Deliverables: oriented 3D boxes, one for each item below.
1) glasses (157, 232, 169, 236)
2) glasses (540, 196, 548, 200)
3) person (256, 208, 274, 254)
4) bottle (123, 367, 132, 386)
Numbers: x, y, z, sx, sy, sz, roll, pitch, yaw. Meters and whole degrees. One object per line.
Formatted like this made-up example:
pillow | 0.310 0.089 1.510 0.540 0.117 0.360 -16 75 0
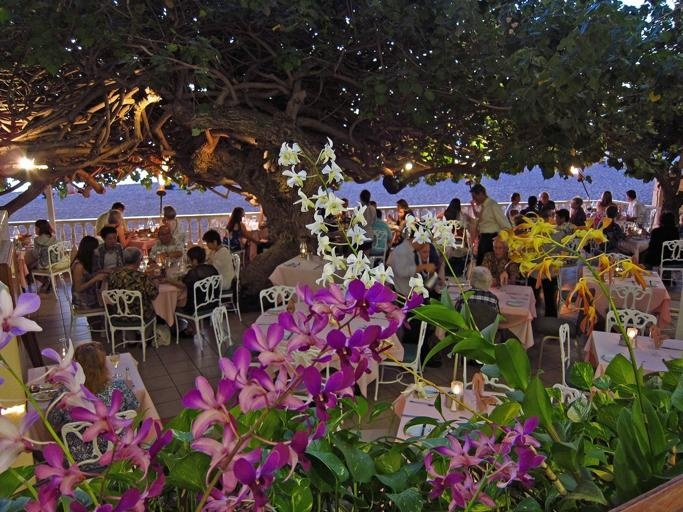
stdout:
glasses | -3.345 -0.420 8.835 0.118 0.089 0.157 -1 0 -1
glasses | 5.325 -1.499 12.427 0.129 0.100 0.132 18 14 -6
person | -1.813 -0.562 11.244 0.488 0.428 1.163 -13 33 -7
bottle | -1.983 1.119 4.382 0.046 0.047 0.178 -5 48 -29
